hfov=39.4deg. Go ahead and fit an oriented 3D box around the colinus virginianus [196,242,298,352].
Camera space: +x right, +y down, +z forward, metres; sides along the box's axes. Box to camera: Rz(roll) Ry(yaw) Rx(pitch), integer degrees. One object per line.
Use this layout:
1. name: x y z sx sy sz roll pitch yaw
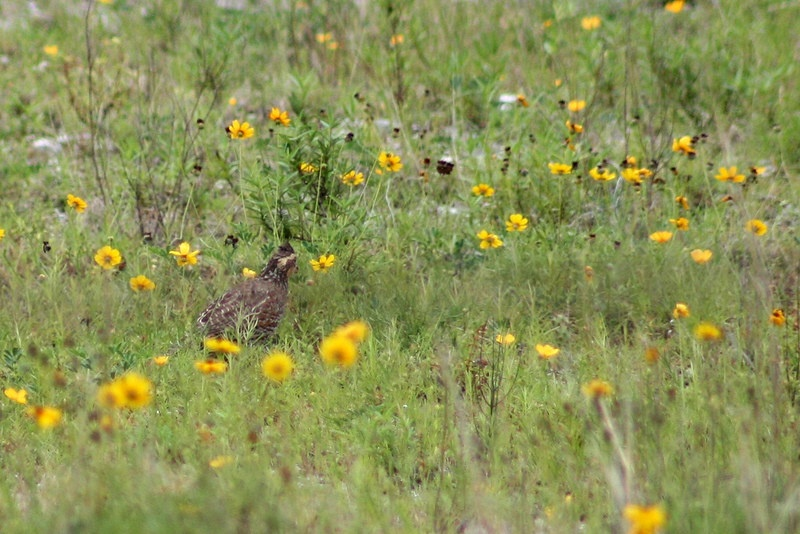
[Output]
1. colinus virginianus: -0.869 0.235 6.783 0.743 0.368 0.397 -41 84 -6
